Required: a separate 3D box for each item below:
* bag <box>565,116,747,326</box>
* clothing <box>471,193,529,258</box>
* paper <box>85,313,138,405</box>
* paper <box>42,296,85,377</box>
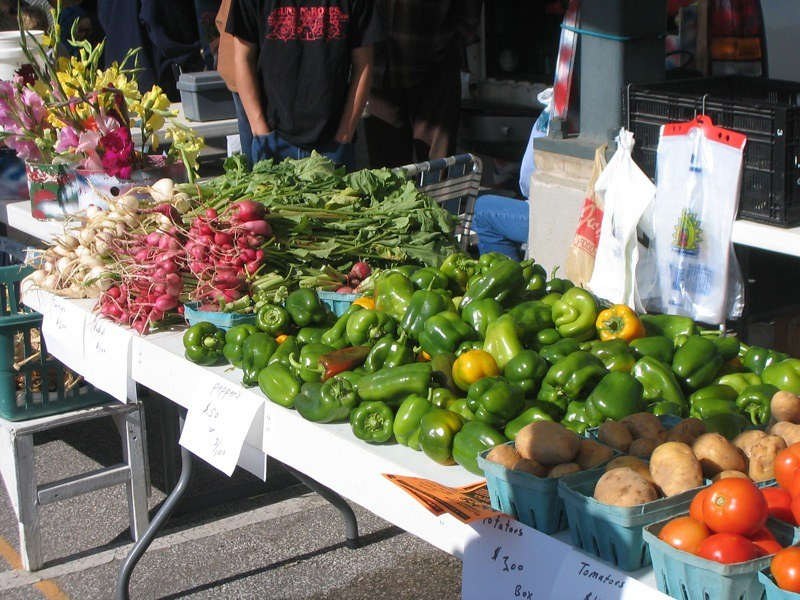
[{"bbox_3d":[1.271,-0.359,3.308,0.315,0.907,0.864,-3,16,-31],"label":"bag"},{"bbox_3d":[0.712,-0.524,4.888,0.293,0.485,0.316,12,48,12],"label":"clothing"},{"bbox_3d":[-1.192,0.226,2.842,0.043,0.294,0.407,-6,16,-39],"label":"paper"},{"bbox_3d":[-1.500,0.147,3.072,0.101,0.342,0.325,-2,18,-42],"label":"paper"}]
